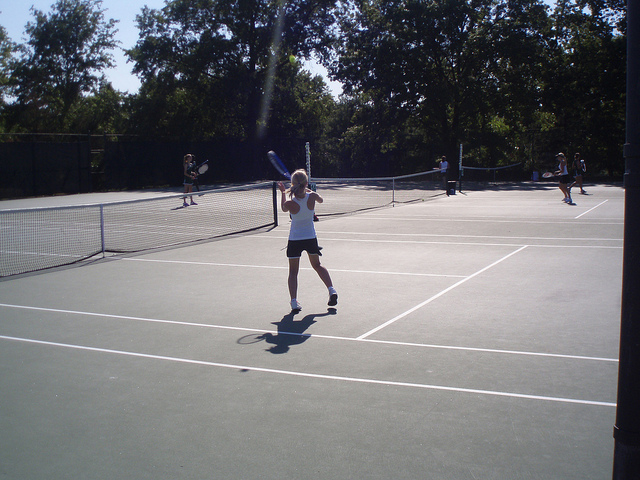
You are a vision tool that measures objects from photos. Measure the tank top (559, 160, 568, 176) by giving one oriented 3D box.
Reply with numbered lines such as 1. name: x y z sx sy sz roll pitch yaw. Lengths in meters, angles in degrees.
1. tank top: 10.555 -3.145 23.128 0.219 0.676 0.662 6 11 41

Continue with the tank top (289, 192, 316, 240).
1. tank top: -0.271 -0.400 8.057 0.374 0.829 0.477 -7 -25 5

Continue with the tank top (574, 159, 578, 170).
1. tank top: 12.759 -3.782 26.594 0.157 0.514 1.348 3 10 25

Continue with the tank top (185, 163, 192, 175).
1. tank top: -5.772 -3.142 23.446 0.275 0.495 0.349 -3 8 -19

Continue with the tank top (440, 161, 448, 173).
1. tank top: 7.801 -4.630 33.597 0.310 0.685 1.352 2 9 16

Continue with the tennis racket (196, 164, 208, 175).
1. tennis racket: -5.637 -3.351 25.572 0.638 0.490 0.098 -20 -36 16

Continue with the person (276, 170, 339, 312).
1. person: -0.199 -0.010 8.119 0.802 2.081 0.574 -2 8 -9
